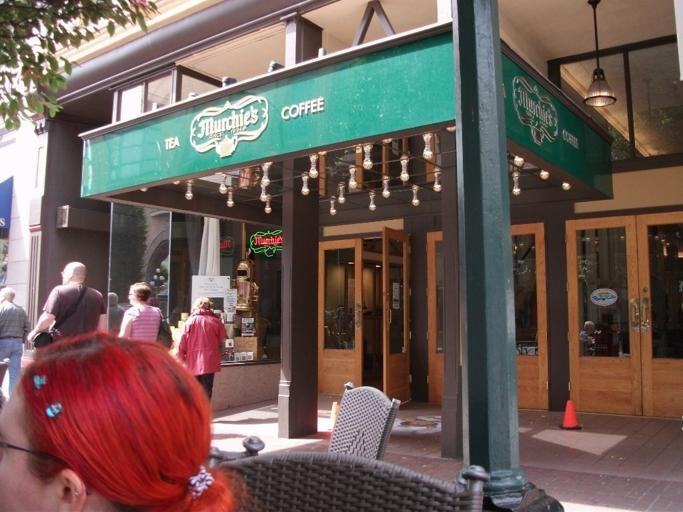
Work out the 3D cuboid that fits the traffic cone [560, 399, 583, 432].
[{"bbox_3d":[3.031,2.153,8.010,0.366,0.416,0.391,-7,-12,43],"label":"traffic cone"}]
